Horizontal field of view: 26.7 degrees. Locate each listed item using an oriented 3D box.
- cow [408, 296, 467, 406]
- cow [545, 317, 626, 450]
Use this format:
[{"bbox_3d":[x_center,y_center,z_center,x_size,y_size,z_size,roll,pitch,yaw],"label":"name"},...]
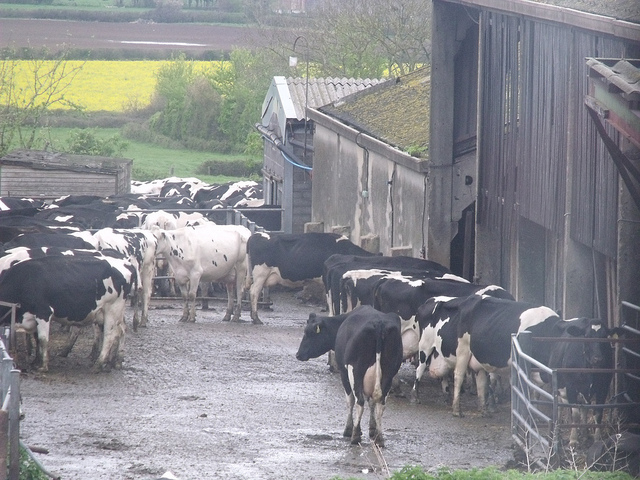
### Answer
[{"bbox_3d":[2.569,2.373,27.867,0.721,2.232,2.758,-6,-10,38],"label":"cow"},{"bbox_3d":[4.922,2.243,24.775,0.699,1.691,2.486,1,4,6],"label":"cow"}]
